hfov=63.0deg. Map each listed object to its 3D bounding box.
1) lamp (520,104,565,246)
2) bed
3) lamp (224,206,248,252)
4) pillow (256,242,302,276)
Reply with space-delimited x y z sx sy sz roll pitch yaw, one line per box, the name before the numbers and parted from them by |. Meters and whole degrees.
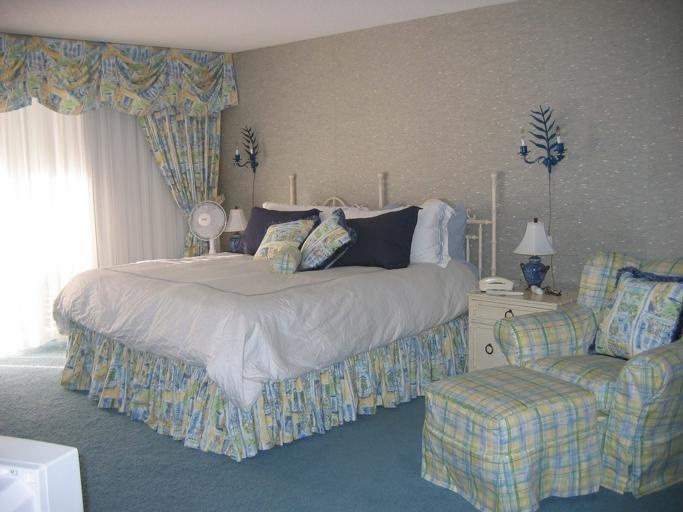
lamp | 1.557 -0.673 4.380 0.147 1.021 0.353 -9 14 -36
bed | -0.380 0.356 3.919 1.773 1.074 1.731 -5 7 -42
lamp | -1.144 -0.278 6.051 0.271 0.440 0.276 -1 1 -14
pillow | -0.454 0.021 4.148 0.111 0.218 0.284 32 -23 -37
